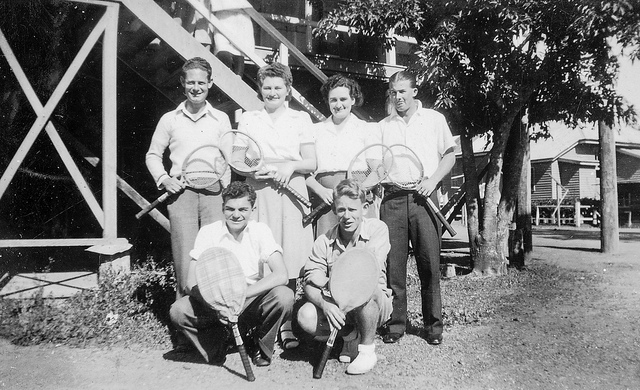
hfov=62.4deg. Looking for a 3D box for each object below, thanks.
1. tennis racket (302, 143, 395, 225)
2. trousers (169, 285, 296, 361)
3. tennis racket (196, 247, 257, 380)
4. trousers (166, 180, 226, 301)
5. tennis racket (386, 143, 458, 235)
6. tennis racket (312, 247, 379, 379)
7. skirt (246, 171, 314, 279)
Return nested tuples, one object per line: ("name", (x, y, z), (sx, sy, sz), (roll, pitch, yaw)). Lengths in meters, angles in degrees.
("tennis racket", (0.312, -0.042, 6.843), (1.562, 0.647, 0.093), (-43, -17, 7))
("trousers", (-1.134, 1.478, 6.482), (1.432, 0.802, 0.778), (0, 11, -20))
("tennis racket", (-1.063, 1.265, 6.061), (0.565, 1.564, 0.089), (-20, -5, 1))
("trousers", (-1.397, 0.647, 6.588), (0.952, 1.604, 0.404), (-14, -35, -6))
("tennis racket", (1.315, -0.007, 7.013), (0.610, 1.471, 0.073), (-42, 4, -23))
("tennis racket", (0.229, 1.361, 5.824), (0.680, 1.733, 0.106), (-7, -43, 32))
("skirt", (-0.455, 0.343, 6.746), (0.856, 1.309, 0.354), (-7, 1, -19))
